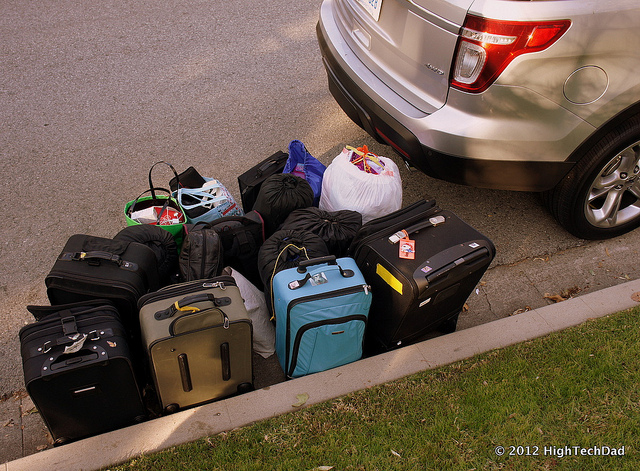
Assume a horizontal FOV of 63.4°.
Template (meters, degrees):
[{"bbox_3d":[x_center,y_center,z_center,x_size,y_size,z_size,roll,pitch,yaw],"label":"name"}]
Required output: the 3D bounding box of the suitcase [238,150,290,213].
[{"bbox_3d":[-0.486,-0.449,4.487,0.164,0.486,0.509,37,62,24],"label":"suitcase"}]

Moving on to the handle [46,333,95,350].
[{"bbox_3d":[-1.538,0.637,3.181,0.273,0.042,0.050,-12,38,-13],"label":"handle"}]

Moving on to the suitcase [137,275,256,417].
[{"bbox_3d":[-0.847,0.707,3.597,0.715,0.894,0.569,-9,40,-16],"label":"suitcase"}]

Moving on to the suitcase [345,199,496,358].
[{"bbox_3d":[0.694,0.360,4.006,0.878,1.096,0.689,-32,59,-32],"label":"suitcase"}]

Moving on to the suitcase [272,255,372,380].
[{"bbox_3d":[0.019,0.553,3.536,0.625,0.823,0.425,-13,51,-13],"label":"suitcase"}]

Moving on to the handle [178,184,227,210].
[{"bbox_3d":[-1.005,-0.339,4.380,0.338,0.101,0.199,-13,66,-1],"label":"handle"}]

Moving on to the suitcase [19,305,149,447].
[{"bbox_3d":[-1.495,0.897,3.273,0.633,0.816,0.494,-14,50,-14],"label":"suitcase"}]

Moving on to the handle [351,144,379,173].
[{"bbox_3d":[0.375,-0.694,4.621,0.246,0.247,0.066,38,16,23],"label":"handle"}]

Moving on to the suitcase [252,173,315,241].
[{"bbox_3d":[-0.312,-0.278,4.314,0.504,0.359,0.346,-17,39,-18],"label":"suitcase"}]

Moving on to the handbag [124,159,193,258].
[{"bbox_3d":[-1.345,-0.201,4.289,0.547,0.746,0.429,19,39,-1],"label":"handbag"}]

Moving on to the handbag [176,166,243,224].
[{"bbox_3d":[-0.965,-0.332,4.485,0.255,0.454,0.324,-20,26,35],"label":"handbag"}]

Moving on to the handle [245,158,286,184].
[{"bbox_3d":[-0.487,-0.588,4.638,0.431,0.156,0.123,-40,77,-15],"label":"handle"}]

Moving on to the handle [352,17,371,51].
[{"bbox_3d":[0.353,-1.692,4.349,0.058,0.196,0.327,-27,57,-11],"label":"handle"}]

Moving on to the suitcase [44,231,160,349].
[{"bbox_3d":[-1.439,0.382,3.453,0.558,0.730,0.403,13,47,2],"label":"suitcase"}]

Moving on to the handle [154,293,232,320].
[{"bbox_3d":[-0.825,0.442,3.344,0.500,0.123,0.078,-12,38,-13],"label":"handle"}]

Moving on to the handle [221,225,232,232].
[{"bbox_3d":[-0.730,-0.058,4.026,0.040,0.052,0.052,24,24,25],"label":"handle"}]

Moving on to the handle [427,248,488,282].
[{"bbox_3d":[0.939,0.195,3.539,0.535,0.062,0.027,-22,40,-24],"label":"handle"}]

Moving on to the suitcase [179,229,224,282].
[{"bbox_3d":[-0.931,0.150,3.939,0.335,0.473,0.258,-4,17,-35],"label":"suitcase"}]
